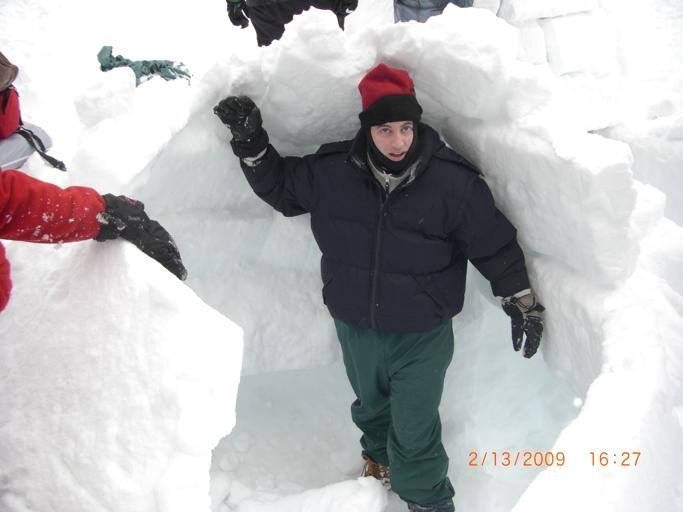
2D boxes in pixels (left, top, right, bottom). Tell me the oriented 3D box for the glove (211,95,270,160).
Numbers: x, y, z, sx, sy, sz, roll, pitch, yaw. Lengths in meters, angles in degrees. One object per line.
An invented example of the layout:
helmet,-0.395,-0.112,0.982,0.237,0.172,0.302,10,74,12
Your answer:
glove,-0.410,-0.537,2.484,0.109,0.185,0.132,36,71,19

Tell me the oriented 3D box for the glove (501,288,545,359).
glove,0.778,0.258,2.545,0.177,0.278,0.115,-19,-1,20

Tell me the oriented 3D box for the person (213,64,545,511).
person,0.286,0.110,2.564,0.935,1.475,1.274,-23,46,-9
